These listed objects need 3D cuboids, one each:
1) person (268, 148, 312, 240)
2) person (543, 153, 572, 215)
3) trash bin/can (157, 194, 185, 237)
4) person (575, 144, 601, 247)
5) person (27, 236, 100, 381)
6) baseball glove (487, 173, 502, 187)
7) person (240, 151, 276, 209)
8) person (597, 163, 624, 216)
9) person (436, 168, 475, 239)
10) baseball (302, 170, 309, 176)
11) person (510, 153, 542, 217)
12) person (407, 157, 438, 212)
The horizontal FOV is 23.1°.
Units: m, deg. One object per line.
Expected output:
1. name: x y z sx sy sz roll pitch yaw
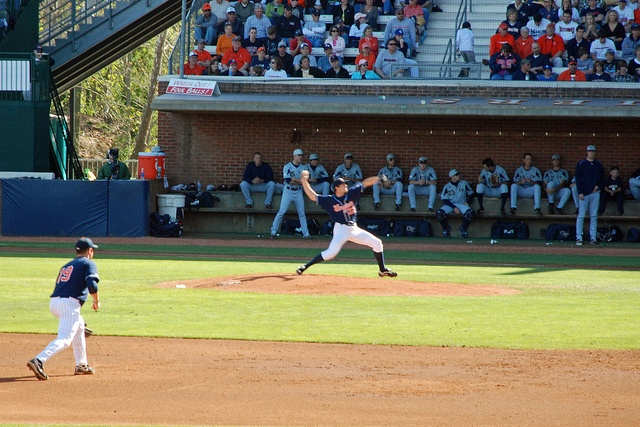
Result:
1. person: -0.929 -0.646 54.655 1.292 3.011 1.095 3 -2 2
2. person: 8.288 -0.950 55.353 0.709 2.327 0.731 -1 0 14
3. trash bin/can: -4.978 0.039 54.974 1.183 1.667 1.259 0 -1 -33
4. person: 9.228 -0.646 53.835 0.912 3.341 0.783 -1 0 16
5. person: -6.795 2.585 42.770 1.501 3.780 0.411 3 0 -9
6. baseball glove: 6.195 -1.156 55.529 0.403 0.481 0.167 3 0 4
7. person: -2.147 -1.194 55.957 1.135 2.104 1.188 -1 0 3
8. person: 10.272 -0.813 55.125 0.646 1.948 0.607 1 2 30
9. person: 4.921 -0.355 55.692 1.127 2.506 0.984 -1 0 20
10. baseball: -0.437 -1.203 47.429 0.179 0.179 0.169 17 30 40
11. person: 7.287 -1.015 55.416 1.131 2.160 0.609 3 0 7
12. person: 3.702 -1.035 55.912 0.856 2.075 0.668 -1 0 11
